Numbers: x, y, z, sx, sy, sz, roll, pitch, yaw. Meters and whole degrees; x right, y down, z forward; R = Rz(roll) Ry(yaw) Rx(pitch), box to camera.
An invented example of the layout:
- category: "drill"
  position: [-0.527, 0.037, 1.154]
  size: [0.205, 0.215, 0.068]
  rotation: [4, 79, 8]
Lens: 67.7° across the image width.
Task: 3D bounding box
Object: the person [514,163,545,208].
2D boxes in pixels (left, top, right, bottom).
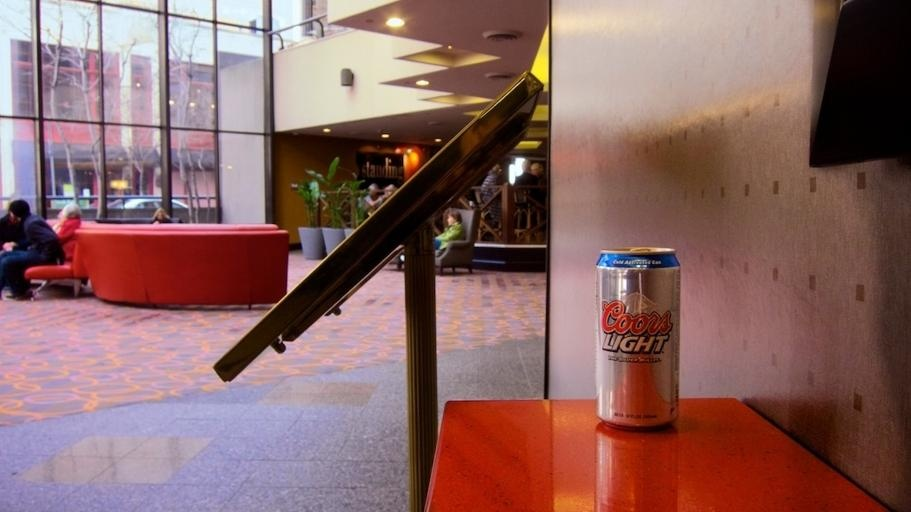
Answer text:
- category: "person"
  position: [1.337, -1.261, 11.847]
  size: [0.487, 0.752, 1.572]
  rotation: [1, 6, 12]

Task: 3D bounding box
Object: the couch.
- category: "couch"
  position: [-2.689, 0.085, 6.710]
  size: [1.989, 0.740, 0.557]
  rotation: [1, 7, 17]
